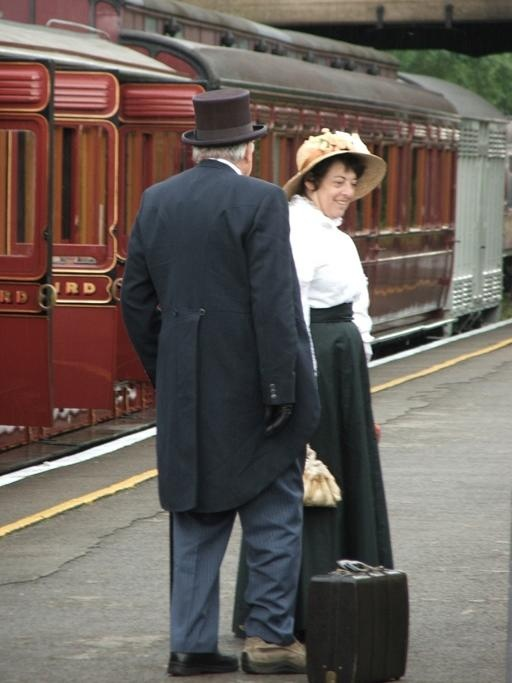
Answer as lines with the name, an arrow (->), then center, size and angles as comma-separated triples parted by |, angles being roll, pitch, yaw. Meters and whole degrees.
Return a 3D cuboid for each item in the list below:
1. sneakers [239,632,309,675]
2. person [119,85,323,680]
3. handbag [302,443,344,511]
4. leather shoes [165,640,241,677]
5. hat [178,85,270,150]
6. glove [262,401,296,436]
sneakers -> 0.064, 1.096, 5.860 | 0.275, 0.134, 0.098 | 1, 4, -14
person -> -0.115, 0.159, 5.784 | 0.657, 2.023, 0.399 | -3, 5, 3
handbag -> 0.240, 0.489, 6.078 | 0.177, 0.206, 0.065 | -5, 10, 23
leather shoes -> -0.178, 1.118, 5.864 | 0.241, 0.135, 0.092 | -3, 6, -24
hat -> -0.087, -0.768, 5.853 | 0.213, 0.127, 0.234 | 5, 21, 26
glove -> 0.077, 0.265, 5.656 | 0.096, 0.108, 0.072 | -3, 5, 4
